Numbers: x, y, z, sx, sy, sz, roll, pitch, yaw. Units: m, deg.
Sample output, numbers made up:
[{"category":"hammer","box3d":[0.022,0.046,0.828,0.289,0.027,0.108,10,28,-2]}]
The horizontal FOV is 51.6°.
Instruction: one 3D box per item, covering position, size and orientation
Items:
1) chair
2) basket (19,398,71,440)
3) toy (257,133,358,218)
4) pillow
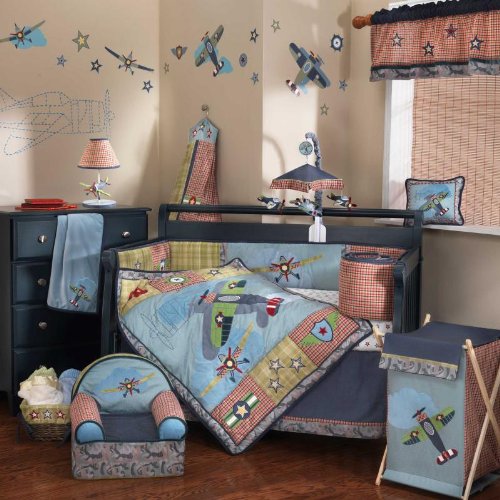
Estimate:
[{"category":"chair","box3d":[-0.464,0.606,1.976,0.466,0.348,0.425,0,7,-11]},{"category":"basket","box3d":[-0.838,0.703,2.127,0.162,0.100,0.196,1,-3,-12]},{"category":"toy","box3d":[0.290,-0.341,2.676,0.512,0.414,0.490,3,4,42]},{"category":"pillow","box3d":[0.982,-0.257,2.754,0.356,0.265,0.048,2,-6,31]}]
